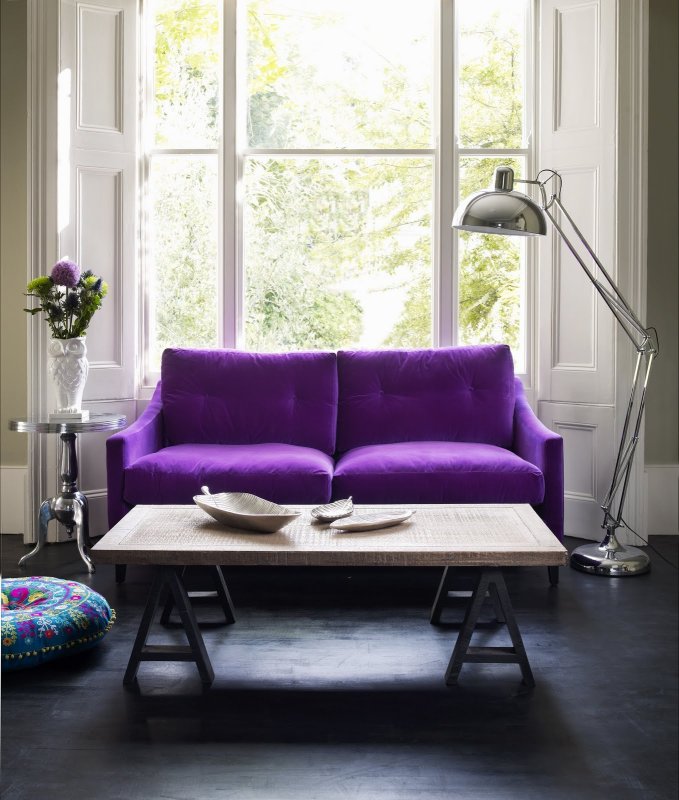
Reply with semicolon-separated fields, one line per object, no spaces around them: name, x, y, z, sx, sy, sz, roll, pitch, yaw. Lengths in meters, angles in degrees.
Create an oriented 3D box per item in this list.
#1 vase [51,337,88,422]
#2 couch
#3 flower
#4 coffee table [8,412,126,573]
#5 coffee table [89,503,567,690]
vase;-1.207;-0.112;3.338;0.154;0.328;0.115;-1;2;-25
couch;-0.015;0.230;3.432;1.909;0.839;0.823;0;9;1
flower;-1.199;-0.438;3.276;0.264;0.343;0.257;1;2;34
coffee table;-1.202;0.390;3.369;0.437;0.665;0.625;-1;2;-11
coffee table;-0.035;0.542;2.141;1.252;0.498;0.636;0;2;2
